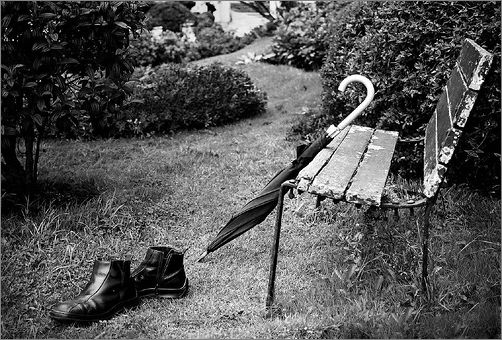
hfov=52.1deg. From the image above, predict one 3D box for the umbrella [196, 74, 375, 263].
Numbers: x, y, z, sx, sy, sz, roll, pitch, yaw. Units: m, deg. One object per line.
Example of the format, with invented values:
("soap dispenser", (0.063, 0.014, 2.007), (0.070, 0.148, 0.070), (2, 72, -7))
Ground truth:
("umbrella", (0.340, 0.009, 5.985), (0.424, 2.879, 0.599), (38, 16, -17))
